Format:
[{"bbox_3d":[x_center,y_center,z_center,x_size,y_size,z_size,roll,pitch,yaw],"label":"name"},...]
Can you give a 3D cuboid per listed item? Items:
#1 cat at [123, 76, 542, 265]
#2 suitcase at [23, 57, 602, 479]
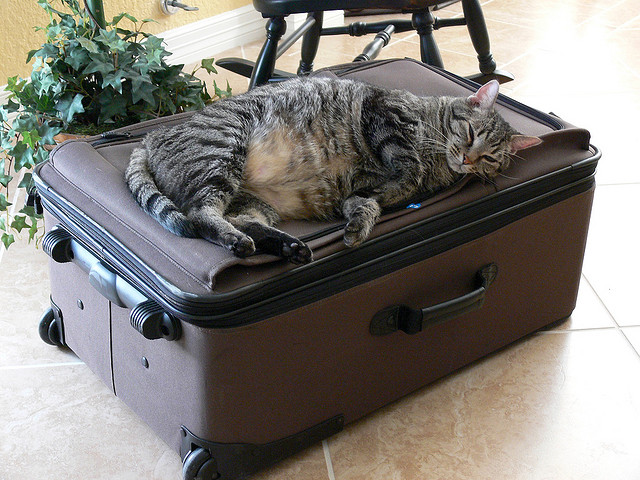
[{"bbox_3d":[-0.006,-0.172,1.327,0.703,0.253,0.407,-8,32,-28],"label":"cat"},{"bbox_3d":[-0.038,0.076,1.312,1.110,0.530,0.744,-21,38,-30],"label":"suitcase"}]
